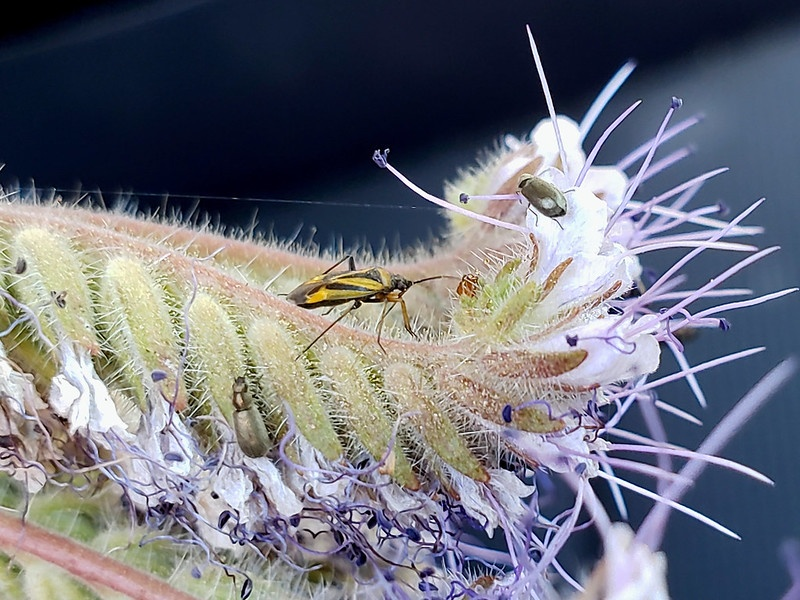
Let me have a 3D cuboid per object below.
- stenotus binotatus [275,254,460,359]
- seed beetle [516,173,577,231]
[{"bbox_3d":[-0.082,-0.008,2.163,0.348,0.142,0.272,-1,22,-4],"label":"stenotus binotatus"},{"bbox_3d":[0.322,-0.212,2.028,0.082,0.130,0.092,-4,1,-5],"label":"seed beetle"}]
